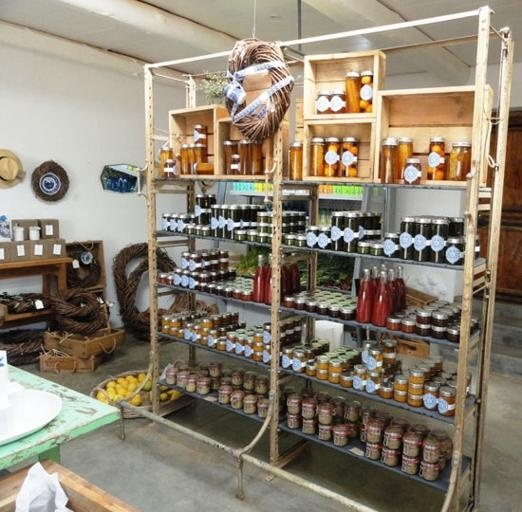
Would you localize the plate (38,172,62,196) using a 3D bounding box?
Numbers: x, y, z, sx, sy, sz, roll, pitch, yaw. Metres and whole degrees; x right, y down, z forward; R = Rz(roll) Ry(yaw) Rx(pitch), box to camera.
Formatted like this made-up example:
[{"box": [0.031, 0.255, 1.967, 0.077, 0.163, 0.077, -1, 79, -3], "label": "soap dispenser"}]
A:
[{"box": [-2.242, -0.768, 5.060, 0.252, 0.199, 0.079, -3, 5, -41], "label": "plate"}]
